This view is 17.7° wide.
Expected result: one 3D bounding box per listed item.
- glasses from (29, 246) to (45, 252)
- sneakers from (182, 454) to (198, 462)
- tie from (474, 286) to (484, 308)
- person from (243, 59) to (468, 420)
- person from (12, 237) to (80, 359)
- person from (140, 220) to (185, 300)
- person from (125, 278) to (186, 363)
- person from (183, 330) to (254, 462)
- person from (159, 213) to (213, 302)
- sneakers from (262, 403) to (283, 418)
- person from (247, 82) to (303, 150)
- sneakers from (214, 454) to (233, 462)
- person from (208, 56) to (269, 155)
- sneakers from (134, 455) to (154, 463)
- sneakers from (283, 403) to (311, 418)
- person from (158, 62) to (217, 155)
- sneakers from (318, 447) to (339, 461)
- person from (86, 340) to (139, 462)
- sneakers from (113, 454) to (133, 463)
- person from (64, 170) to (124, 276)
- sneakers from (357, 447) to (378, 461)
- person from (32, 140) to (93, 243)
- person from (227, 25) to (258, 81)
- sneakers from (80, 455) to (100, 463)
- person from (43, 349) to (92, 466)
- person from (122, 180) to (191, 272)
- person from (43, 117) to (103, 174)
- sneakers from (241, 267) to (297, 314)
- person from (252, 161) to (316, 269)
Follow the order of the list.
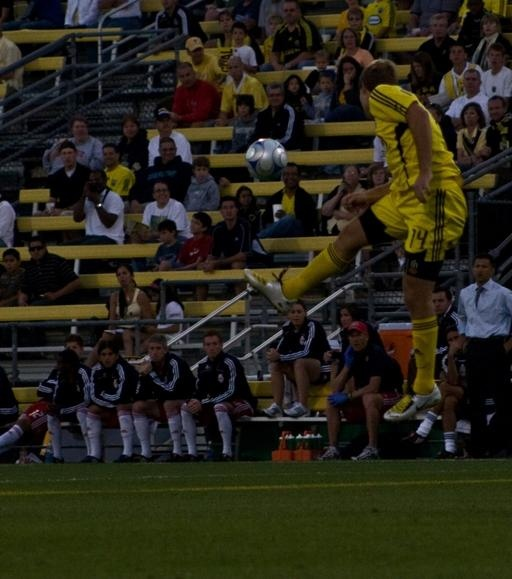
[{"bbox_3d":[-2.080,-0.378,15.671,0.125,0.058,0.081,-3,7,-7],"label":"glasses"},{"bbox_3d":[-0.513,1.374,13.437,0.051,0.056,0.148,3,2,19],"label":"sneakers"},{"bbox_3d":[1.729,0.046,12.574,0.039,0.120,0.089,12,-7,-24],"label":"tie"},{"bbox_3d":[0.848,-0.273,10.358,0.564,2.313,1.094,-9,10,-43],"label":"person"},{"bbox_3d":[-1.989,0.015,15.915,0.639,0.976,0.516,-1,-3,1],"label":"person"},{"bbox_3d":[-0.868,-0.303,15.804,0.317,0.675,0.436,-1,0,23],"label":"person"},{"bbox_3d":[-0.875,0.345,14.767,0.558,0.867,0.429,9,-23,-21],"label":"person"},{"bbox_3d":[-0.310,0.880,13.400,0.598,1.055,0.616,-2,7,4],"label":"person"},{"bbox_3d":[-0.597,-0.270,15.561,0.429,0.895,0.536,5,21,26],"label":"person"},{"bbox_3d":[0.149,0.989,13.408,0.074,0.095,0.205,-5,-11,32],"label":"sneakers"},{"bbox_3d":[0.173,-1.747,16.979,0.701,0.680,0.673,-3,15,-32],"label":"person"},{"bbox_3d":[-0.241,1.355,13.280,0.072,0.061,0.177,1,-6,6],"label":"sneakers"},{"bbox_3d":[-0.201,-2.026,18.111,0.552,0.982,0.755,-3,7,30],"label":"person"},{"bbox_3d":[-0.930,1.395,13.628,0.118,0.040,0.074,10,1,33],"label":"sneakers"},{"bbox_3d":[0.353,0.985,13.331,0.209,0.094,0.087,2,-3,-23],"label":"sneakers"},{"bbox_3d":[-0.729,-2.094,18.491,0.672,0.849,0.780,-2,17,12],"label":"person"},{"bbox_3d":[0.566,1.274,12.728,0.196,0.083,0.063,-6,1,-24],"label":"sneakers"},{"bbox_3d":[-1.207,0.935,13.734,0.482,1.041,0.566,-1,7,8],"label":"person"},{"bbox_3d":[-1.075,1.393,13.582,0.189,0.061,0.066,1,-6,-18],"label":"sneakers"},{"bbox_3d":[-1.601,-0.626,16.584,0.519,1.085,0.633,4,2,21],"label":"person"},{"bbox_3d":[0.882,1.251,12.489,0.224,0.087,0.071,0,-4,-18],"label":"sneakers"},{"bbox_3d":[-1.985,-1.032,17.237,0.473,0.988,0.615,-3,0,16],"label":"person"},{"bbox_3d":[-0.178,-2.682,19.103,0.406,0.830,0.266,-2,6,7],"label":"person"},{"bbox_3d":[-1.365,1.414,13.681,0.188,0.067,0.065,6,-8,-13],"label":"sneakers"},{"bbox_3d":[-1.611,0.978,13.896,0.451,0.931,0.476,-3,7,-3],"label":"person"},{"bbox_3d":[-0.976,-0.638,16.236,0.688,0.842,0.677,0,5,-17],"label":"person"},{"bbox_3d":[-1.913,-1.444,17.736,0.674,0.779,0.489,-1,-6,16],"label":"person"},{"bbox_3d":[0.076,-0.013,10.779,0.439,0.208,0.157,41,-22,-26],"label":"sneakers"},{"bbox_3d":[0.327,-0.814,15.888,0.556,0.744,0.568,4,12,20],"label":"person"}]
